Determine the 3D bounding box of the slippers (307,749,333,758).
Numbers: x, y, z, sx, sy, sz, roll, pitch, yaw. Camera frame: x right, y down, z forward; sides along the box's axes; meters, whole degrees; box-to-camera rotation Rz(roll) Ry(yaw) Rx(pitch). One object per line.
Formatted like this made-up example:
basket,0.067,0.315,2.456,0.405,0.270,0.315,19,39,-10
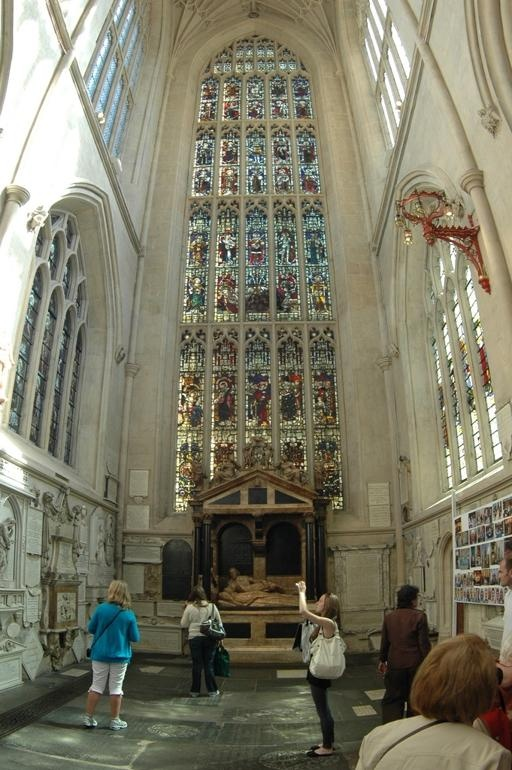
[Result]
slippers,0.509,2.929,4.561,0.133,0.032,0.096,1,-16,7

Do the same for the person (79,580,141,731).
person,-1.380,2.583,5.473,0.456,1.346,0.555,3,-19,-14

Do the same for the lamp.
lamp,2.477,-1.960,7.647,1.115,1.604,0.769,3,-26,-2

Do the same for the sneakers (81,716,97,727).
sneakers,-1.589,3.242,5.521,0.073,0.097,0.208,0,-18,8

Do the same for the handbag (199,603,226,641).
handbag,-0.542,2.978,7.150,0.284,0.430,0.306,-3,-19,3

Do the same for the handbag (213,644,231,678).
handbag,-0.432,3.428,7.125,0.167,0.360,0.156,3,-19,-13

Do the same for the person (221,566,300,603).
person,0.007,4.037,11.510,1.166,0.551,0.684,-2,-23,3
